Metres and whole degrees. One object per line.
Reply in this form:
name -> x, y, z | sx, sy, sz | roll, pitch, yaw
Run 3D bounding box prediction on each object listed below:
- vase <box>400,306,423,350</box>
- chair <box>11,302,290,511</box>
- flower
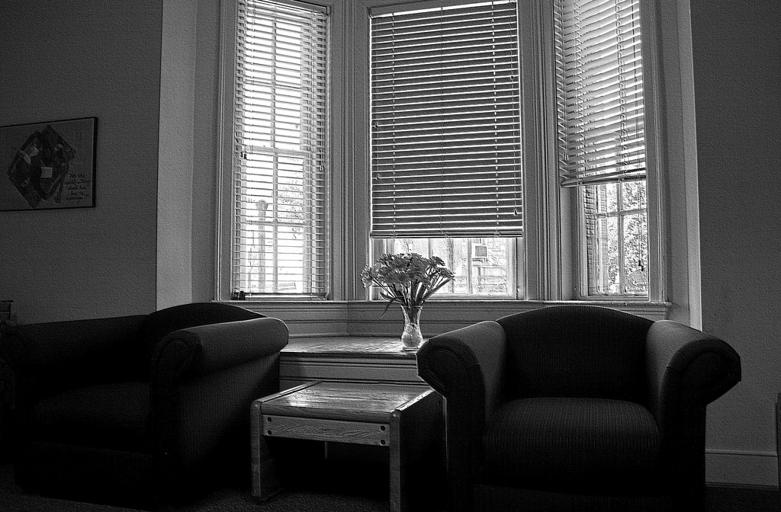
vase -> 0.160, 0.461, 4.103 | 0.248, 0.274, 0.242 | 0, -4, 8
chair -> -1.414, 0.848, 3.726 | 1.338, 0.954, 0.807 | 1, 2, 12
flower -> 0.097, 0.226, 4.094 | 0.494, 0.385, 0.478 | 2, -6, -35
